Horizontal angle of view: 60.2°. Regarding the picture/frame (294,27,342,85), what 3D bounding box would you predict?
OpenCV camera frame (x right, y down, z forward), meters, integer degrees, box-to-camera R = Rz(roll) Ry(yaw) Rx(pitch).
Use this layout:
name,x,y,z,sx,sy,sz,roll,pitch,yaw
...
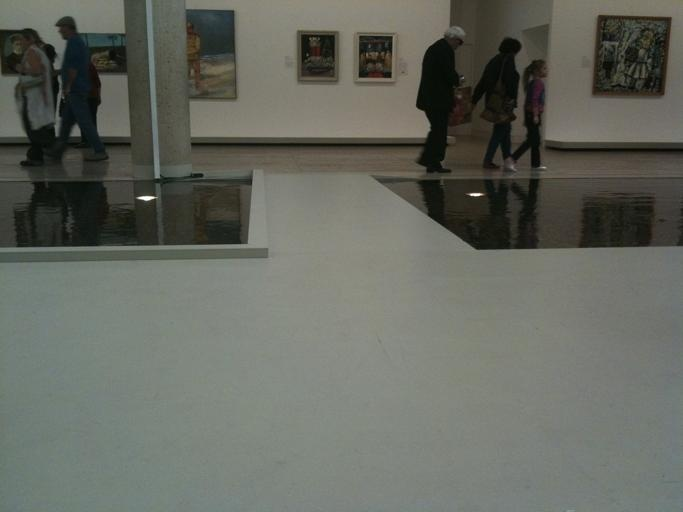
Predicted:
name,x,y,z,sx,sy,sz,roll,pitch,yaw
picture/frame,-0.528,-4.285,12.689,0.881,1.021,0.130,-1,9,-5

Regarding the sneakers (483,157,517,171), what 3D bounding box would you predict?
name,x,y,z,sx,sy,sz,roll,pitch,yaw
sneakers,2.412,-1.368,8.965,0.194,0.281,0.621,-2,4,-18

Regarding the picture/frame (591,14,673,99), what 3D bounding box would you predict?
name,x,y,z,sx,sy,sz,roll,pitch,yaw
picture/frame,6.190,-4.378,12.732,1.623,1.720,0.062,0,7,-11

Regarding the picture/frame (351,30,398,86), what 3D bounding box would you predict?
name,x,y,z,sx,sy,sz,roll,pitch,yaw
picture/frame,0.673,-4.342,12.769,0.967,1.150,0.056,-1,12,-5

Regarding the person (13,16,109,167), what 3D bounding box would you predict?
name,x,y,z,sx,sy,sz,roll,pitch,yaw
person,-3.890,-2.234,8.116,1.081,1.946,0.613,-3,10,-19

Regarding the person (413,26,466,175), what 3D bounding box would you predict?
name,x,y,z,sx,sy,sz,roll,pitch,yaw
person,1.336,-2.105,8.147,0.607,1.910,0.515,2,9,11

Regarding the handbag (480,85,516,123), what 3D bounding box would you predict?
name,x,y,z,sx,sy,sz,roll,pitch,yaw
handbag,2.238,-2.173,8.454,0.471,0.532,0.265,3,10,18

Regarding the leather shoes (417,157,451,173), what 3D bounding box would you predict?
name,x,y,z,sx,sy,sz,roll,pitch,yaw
leather shoes,1.379,-1.318,8.610,0.602,0.273,0.206,-5,20,-25
